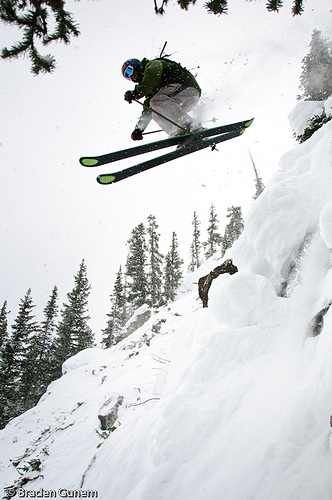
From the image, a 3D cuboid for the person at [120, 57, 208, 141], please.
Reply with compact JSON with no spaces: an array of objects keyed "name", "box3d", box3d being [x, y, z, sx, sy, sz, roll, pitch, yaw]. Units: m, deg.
[{"name":"person","box3d":[-0.078,-3.179,9.050,1.359,1.867,1.185,-10,-4,9]}]
